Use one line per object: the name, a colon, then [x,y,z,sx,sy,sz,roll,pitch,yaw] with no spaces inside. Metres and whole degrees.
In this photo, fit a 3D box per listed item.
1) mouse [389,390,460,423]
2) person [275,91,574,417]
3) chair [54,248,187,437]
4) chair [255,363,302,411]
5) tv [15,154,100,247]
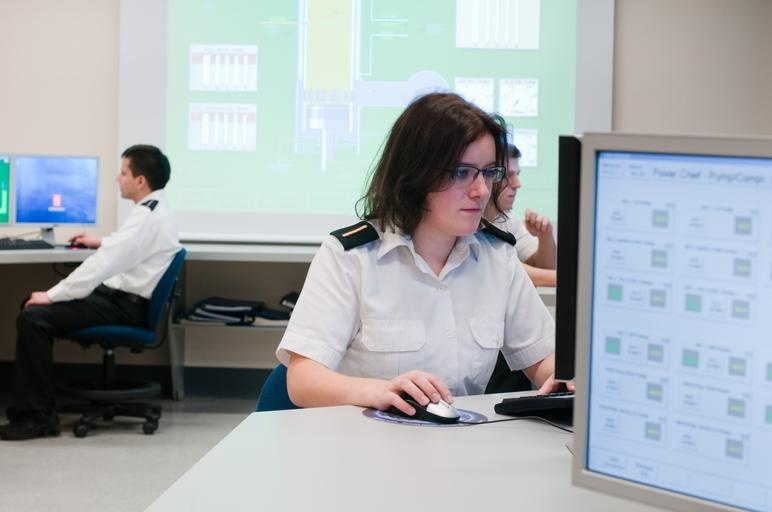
mouse: [0.099,0.318,1.413,0.099,0.032,0.058,-5,-3,38]
person: [0.098,-0.006,1.628,0.522,0.758,0.592,10,17,34]
chair: [-1.433,0.432,3.596,0.643,0.917,0.579,2,-3,-15]
chair: [-0.283,0.349,1.807,0.124,0.150,0.115,-2,-3,-6]
tv: [-1.879,-0.332,3.810,0.565,0.613,0.216,0,-5,-4]
